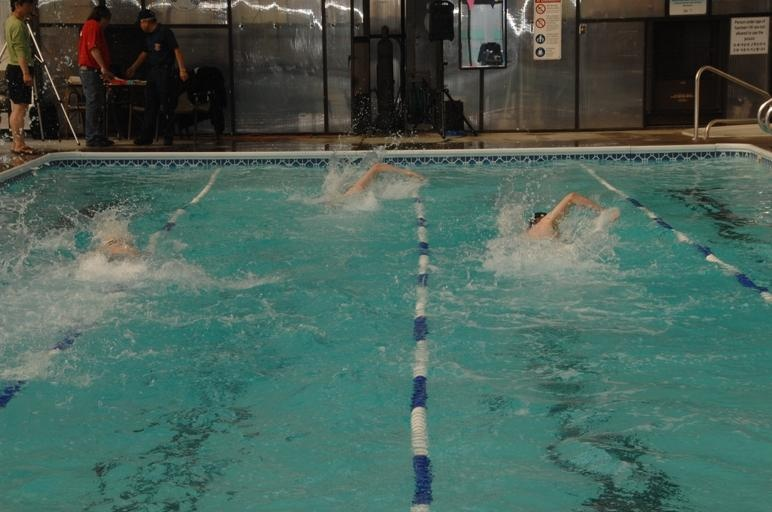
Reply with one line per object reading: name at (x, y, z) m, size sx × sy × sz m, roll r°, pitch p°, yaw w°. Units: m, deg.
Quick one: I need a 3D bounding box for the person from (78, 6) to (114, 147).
person at (-4.668, -2.840, 12.852) m, size 0.586 × 2.167 × 0.570 m, roll 0°, pitch 14°, yaw 6°

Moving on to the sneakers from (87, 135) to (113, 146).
sneakers at (-4.666, -1.888, 13.154) m, size 0.497 × 0.187 × 0.171 m, roll -4°, pitch 13°, yaw -16°

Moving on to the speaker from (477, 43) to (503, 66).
speaker at (2.010, -3.793, 15.242) m, size 0.469 × 0.423 × 0.163 m, roll 3°, pitch 4°, yaw 5°

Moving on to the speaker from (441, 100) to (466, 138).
speaker at (1.274, -2.551, 14.833) m, size 0.367 × 0.645 × 0.379 m, roll -1°, pitch 14°, yaw 2°

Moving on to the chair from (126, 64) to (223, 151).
chair at (-3.558, -2.430, 13.249) m, size 1.081 × 1.301 × 1.120 m, roll -2°, pitch 6°, yaw 0°
